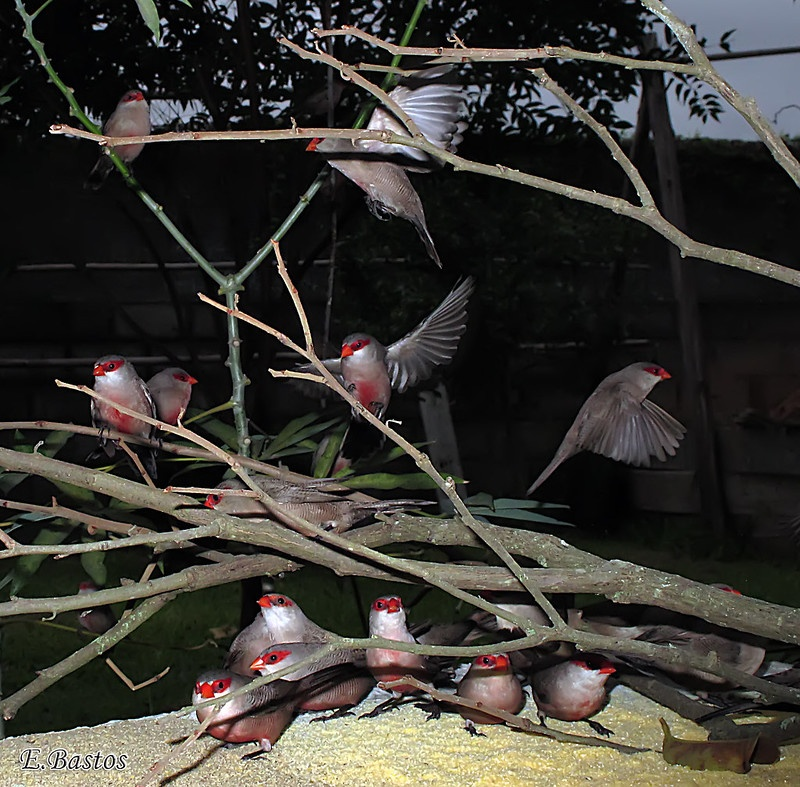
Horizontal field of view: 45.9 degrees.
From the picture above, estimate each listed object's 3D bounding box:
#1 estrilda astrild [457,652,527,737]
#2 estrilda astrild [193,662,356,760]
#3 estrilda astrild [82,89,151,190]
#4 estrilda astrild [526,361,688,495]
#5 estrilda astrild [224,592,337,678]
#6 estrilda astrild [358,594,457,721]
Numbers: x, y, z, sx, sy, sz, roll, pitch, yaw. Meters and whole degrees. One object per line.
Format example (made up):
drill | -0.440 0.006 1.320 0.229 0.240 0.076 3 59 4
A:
estrilda astrild | 0.125 0.425 1.362 0.118 0.115 0.143 5 -8 -4
estrilda astrild | -0.184 0.432 1.323 0.269 0.101 0.097 3 -7 -44
estrilda astrild | -0.461 -0.425 1.578 0.088 0.125 0.177 13 -9 -34
estrilda astrild | 0.302 0.033 1.321 0.254 0.083 0.213 -23 21 4
estrilda astrild | -0.152 0.336 1.364 0.145 0.082 0.101 17 -2 -36
estrilda astrild | 0.008 0.386 1.372 0.141 0.155 0.177 -13 -26 26
